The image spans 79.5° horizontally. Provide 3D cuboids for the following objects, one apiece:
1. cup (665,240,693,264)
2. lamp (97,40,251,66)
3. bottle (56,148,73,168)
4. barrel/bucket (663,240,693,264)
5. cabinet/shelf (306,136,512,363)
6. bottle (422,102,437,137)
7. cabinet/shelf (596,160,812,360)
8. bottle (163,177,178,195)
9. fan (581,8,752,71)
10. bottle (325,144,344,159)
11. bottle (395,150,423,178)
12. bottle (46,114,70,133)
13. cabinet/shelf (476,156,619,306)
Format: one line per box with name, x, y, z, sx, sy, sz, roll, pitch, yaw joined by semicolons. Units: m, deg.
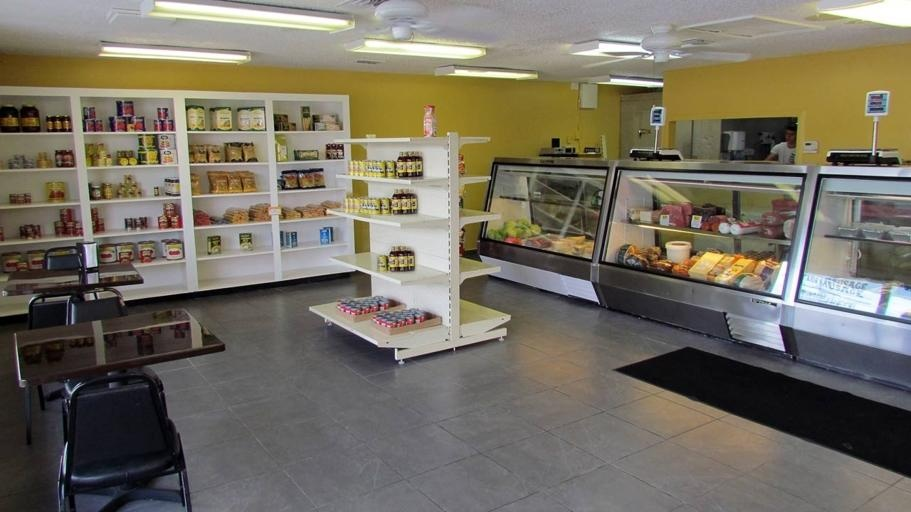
cup;3.084;-0.037;7.564;0.372;0.238;0.321;1;4;3
lamp;-3.950;-2.821;7.694;1.795;0.166;0.577;-9;15;-27
bottle;-5.898;-1.440;8.234;0.283;0.258;0.237;10;20;38
barrel/bucket;3.069;-0.033;7.568;0.366;0.240;0.326;2;10;17
cabinet/shelf;-0.725;-0.037;7.872;2.761;2.931;3.558;-8;12;-35
bottle;-0.331;-1.672;6.909;0.129;0.361;0.279;-4;16;-4
cabinet/shelf;3.323;0.103;7.163;1.646;2.000;3.005;-5;8;-40
bottle;-4.600;-1.103;8.826;0.228;0.217;0.378;-2;4;-42
fan;2.625;-2.668;7.216;1.545;0.271;1.373;-12;33;-7
bottle;-2.155;-1.798;9.775;0.353;0.256;0.324;0;3;0
bottle;-0.563;-1.146;7.018;0.434;0.310;0.381;-1;3;8
bottle;-5.885;-1.927;8.098;0.388;0.265;0.227;3;3;31
cabinet/shelf;1.527;-0.322;8.749;1.148;1.876;2.773;-3;9;-40
